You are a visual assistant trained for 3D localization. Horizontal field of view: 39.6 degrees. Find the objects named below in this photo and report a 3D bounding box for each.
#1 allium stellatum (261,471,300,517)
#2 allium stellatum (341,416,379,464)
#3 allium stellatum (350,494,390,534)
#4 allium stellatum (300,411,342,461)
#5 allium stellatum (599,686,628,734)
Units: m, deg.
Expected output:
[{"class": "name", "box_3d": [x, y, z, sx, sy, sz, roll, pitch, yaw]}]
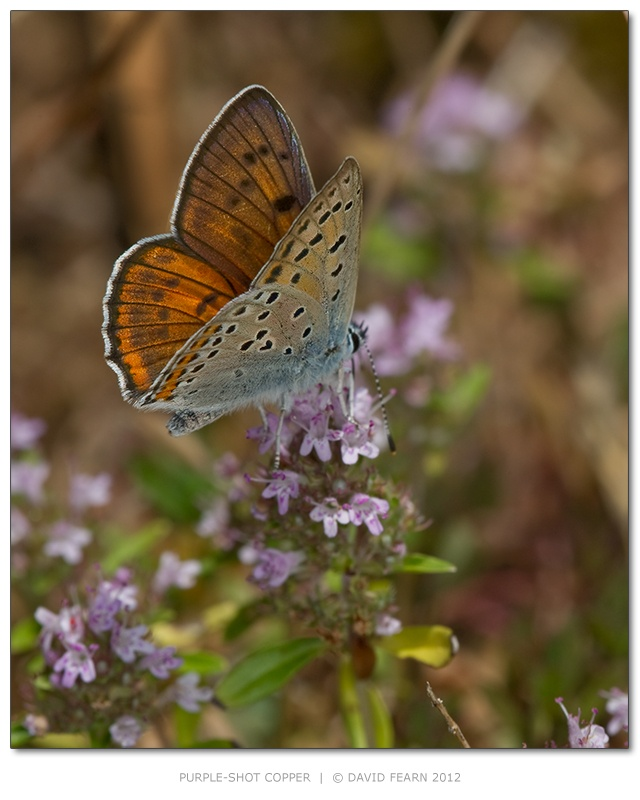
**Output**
[{"class": "allium stellatum", "box_3d": [-0.158, 0.364, 3.427, 0.132, 0.167, 0.211, 4, -20, -25]}, {"class": "allium stellatum", "box_3d": [0.149, 0.165, 3.355, 0.179, 0.160, 0.076, 16, -39, 20]}, {"class": "allium stellatum", "box_3d": [0.162, 0.436, 3.331, 0.165, 0.156, 0.083, 16, -41, 11]}, {"class": "allium stellatum", "box_3d": [-0.003, 0.138, 3.394, 0.145, 0.194, 0.085, -5, -19, 0]}, {"class": "allium stellatum", "box_3d": [1.318, 1.387, 3.952, 0.087, 0.142, 0.160, 22, -23, -6]}]
